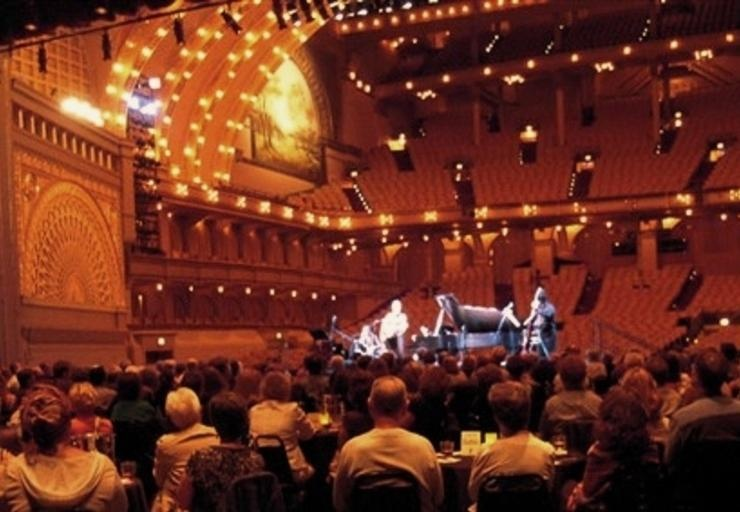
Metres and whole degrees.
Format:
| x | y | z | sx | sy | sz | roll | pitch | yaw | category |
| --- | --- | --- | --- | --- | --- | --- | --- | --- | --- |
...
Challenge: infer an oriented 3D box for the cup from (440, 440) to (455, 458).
| x | y | z | sx | sy | sz | roll | pitch | yaw | category |
| --- | --- | --- | --- | --- | --- | --- | --- | --- | --- |
| 0.911 | 2.263 | 9.062 | 0.196 | 0.221 | 0.206 | 0 | -8 | 0 | cup |

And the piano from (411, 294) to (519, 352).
| x | y | z | sx | sy | sz | roll | pitch | yaw | category |
| --- | --- | --- | --- | --- | --- | --- | --- | --- | --- |
| 4.475 | 2.613 | 30.577 | 5.620 | 2.806 | 1.985 | 1 | -3 | 8 | piano |
